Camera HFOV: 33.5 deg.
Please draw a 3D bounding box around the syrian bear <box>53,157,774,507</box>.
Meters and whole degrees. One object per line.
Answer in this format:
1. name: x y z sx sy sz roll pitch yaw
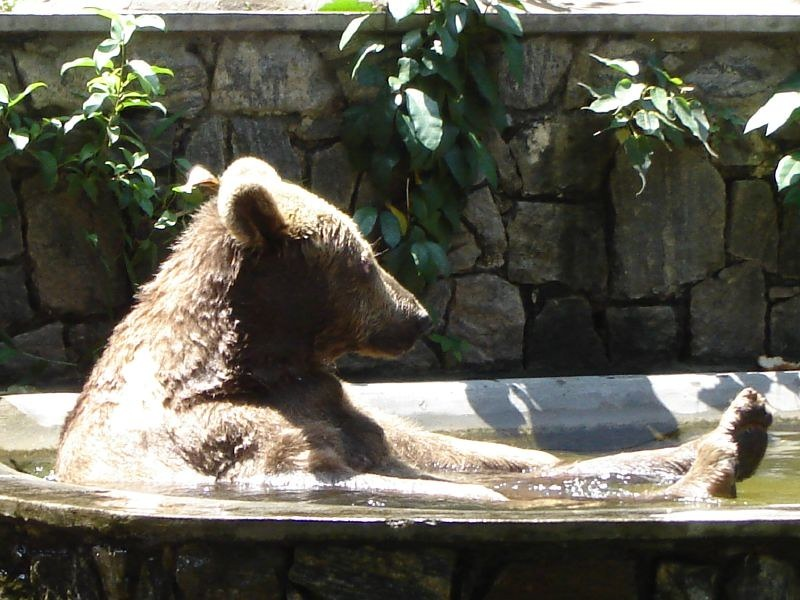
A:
1. syrian bear: 0.091 0.248 5.433 2.909 1.581 1.035 -3 3 2
